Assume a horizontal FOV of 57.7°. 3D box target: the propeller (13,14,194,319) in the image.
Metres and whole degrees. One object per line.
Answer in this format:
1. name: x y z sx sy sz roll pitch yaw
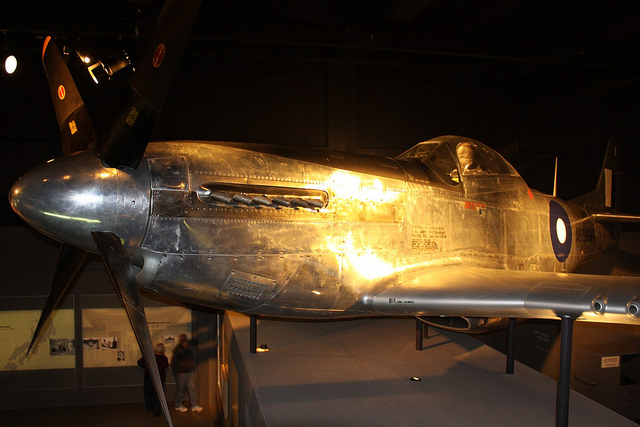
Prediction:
1. propeller: -2.146 -0.355 5.375 1.885 2.835 0.833 0 0 34

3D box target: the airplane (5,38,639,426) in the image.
1. airplane: -0.334 0.309 7.061 5.118 2.261 5.377 4 5 -29
